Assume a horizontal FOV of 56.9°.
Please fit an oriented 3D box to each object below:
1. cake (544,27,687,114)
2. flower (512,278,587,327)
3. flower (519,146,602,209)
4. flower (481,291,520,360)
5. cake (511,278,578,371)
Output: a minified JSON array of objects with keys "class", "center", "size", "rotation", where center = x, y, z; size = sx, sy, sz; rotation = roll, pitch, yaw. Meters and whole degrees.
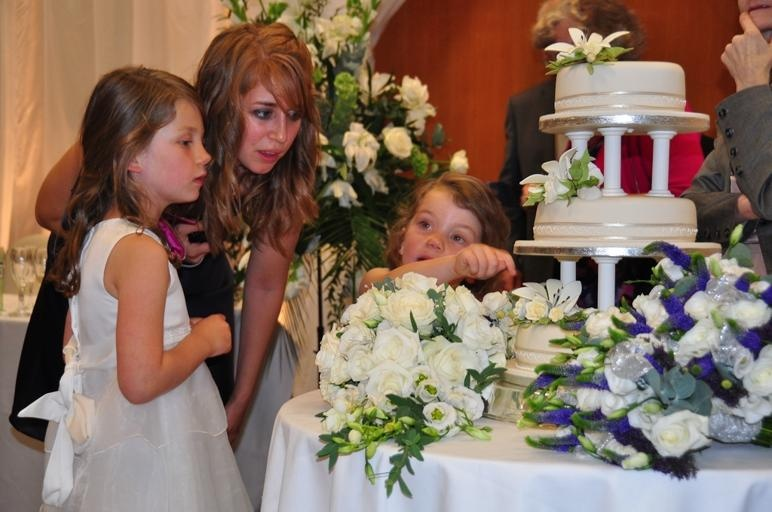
[{"class":"cake","center":[0.775,-0.593,2.397],"size":[0.369,0.239,0.298],"rotation":[1,4,-1]},{"class":"flower","center":[0.520,0.152,2.318],"size":[0.159,0.072,0.179],"rotation":[-20,23,7]},{"class":"flower","center":[0.598,-0.258,2.411],"size":[0.214,0.223,0.121],"rotation":[-2,-13,38]},{"class":"flower","center":[0.390,0.216,2.456],"size":[0.189,0.196,0.081],"rotation":[6,34,19]},{"class":"cake","center":[0.481,0.230,2.378],"size":[0.250,0.287,0.266],"rotation":[6,-6,-27]}]
